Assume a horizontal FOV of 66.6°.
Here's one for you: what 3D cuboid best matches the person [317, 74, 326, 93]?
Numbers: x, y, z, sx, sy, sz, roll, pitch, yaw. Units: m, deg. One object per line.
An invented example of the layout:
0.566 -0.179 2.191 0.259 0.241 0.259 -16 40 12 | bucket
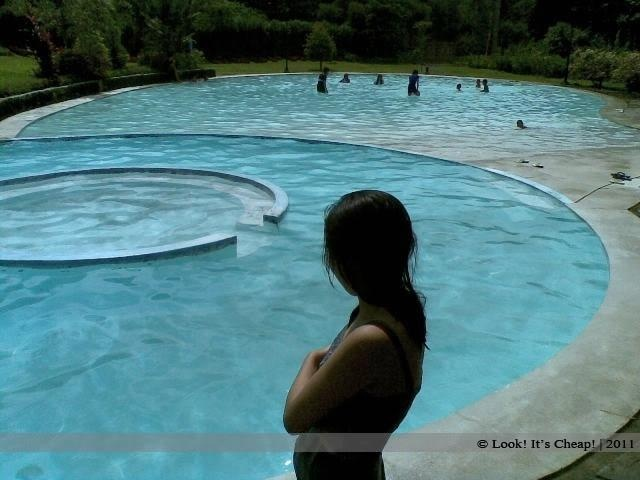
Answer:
0.125 -8.461 26.331 0.525 0.920 0.435 6 32 9 | person
